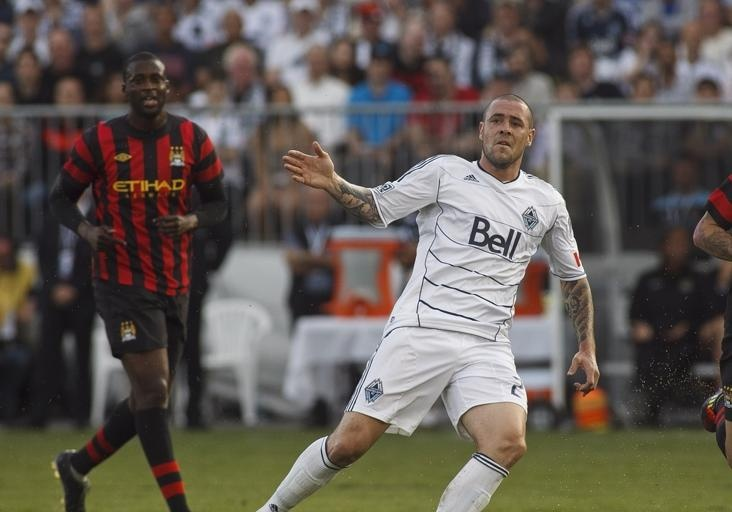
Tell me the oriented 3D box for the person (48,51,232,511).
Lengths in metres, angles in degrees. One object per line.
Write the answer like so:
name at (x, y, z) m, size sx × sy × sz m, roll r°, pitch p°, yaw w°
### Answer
person at (-1.794, 0.176, 11.910) m, size 1.314 × 3.627 × 0.711 m, roll 0°, pitch 5°, yaw -6°

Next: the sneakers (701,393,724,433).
sneakers at (3.005, 1.341, 12.707) m, size 0.125 × 0.305 × 0.220 m, roll 8°, pitch -9°, yaw 6°
